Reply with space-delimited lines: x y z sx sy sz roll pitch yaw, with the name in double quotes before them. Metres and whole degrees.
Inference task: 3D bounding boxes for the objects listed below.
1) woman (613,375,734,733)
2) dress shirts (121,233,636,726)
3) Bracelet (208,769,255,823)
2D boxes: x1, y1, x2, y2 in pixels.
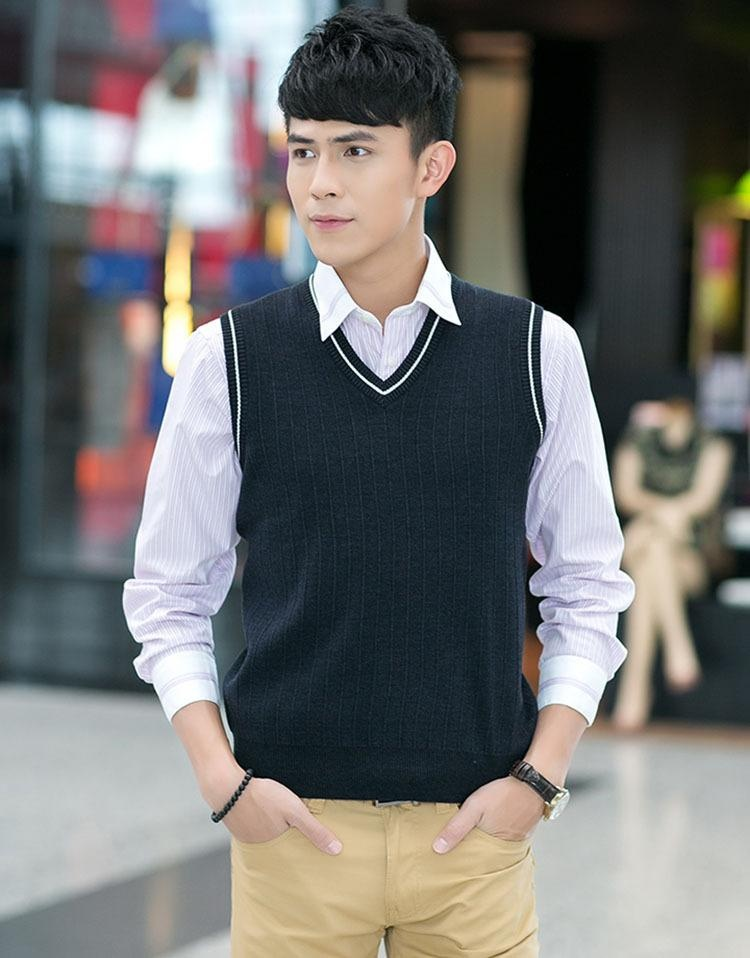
"woman" 1.223 0.248 5.237 0.578 1.535 0.750 9 -7 10
"dress shirts" -0.046 0.028 1.499 0.799 0.612 0.353 -1 9 -26
"Bracelet" -0.177 0.373 1.417 0.016 0.058 0.046 42 8 4
